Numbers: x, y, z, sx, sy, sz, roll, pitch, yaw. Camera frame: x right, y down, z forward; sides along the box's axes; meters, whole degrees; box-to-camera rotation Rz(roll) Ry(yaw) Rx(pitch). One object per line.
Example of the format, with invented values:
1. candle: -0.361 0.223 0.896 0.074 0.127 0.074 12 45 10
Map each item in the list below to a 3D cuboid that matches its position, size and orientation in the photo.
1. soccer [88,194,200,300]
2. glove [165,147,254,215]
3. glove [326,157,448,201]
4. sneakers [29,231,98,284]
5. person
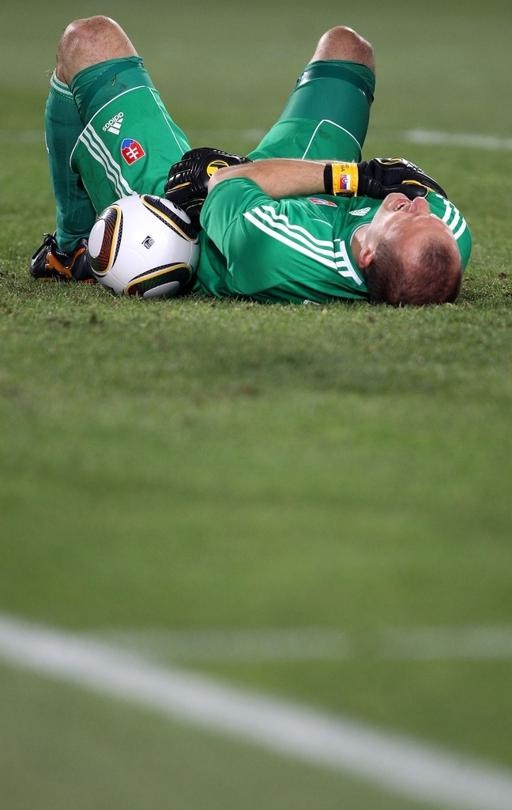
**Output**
1. soccer: -0.375 -0.539 2.625 0.353 0.326 0.341 -17 17 6
2. glove: -0.163 -0.758 2.653 0.269 0.180 0.116 -11 -4 4
3. glove: 0.433 -0.707 2.581 0.363 0.120 0.194 0 11 7
4. sneakers: -0.758 -0.551 3.074 0.358 0.150 0.130 7 11 33
5. person: -0.025 -0.857 2.830 1.072 0.730 1.690 -8 11 -39
